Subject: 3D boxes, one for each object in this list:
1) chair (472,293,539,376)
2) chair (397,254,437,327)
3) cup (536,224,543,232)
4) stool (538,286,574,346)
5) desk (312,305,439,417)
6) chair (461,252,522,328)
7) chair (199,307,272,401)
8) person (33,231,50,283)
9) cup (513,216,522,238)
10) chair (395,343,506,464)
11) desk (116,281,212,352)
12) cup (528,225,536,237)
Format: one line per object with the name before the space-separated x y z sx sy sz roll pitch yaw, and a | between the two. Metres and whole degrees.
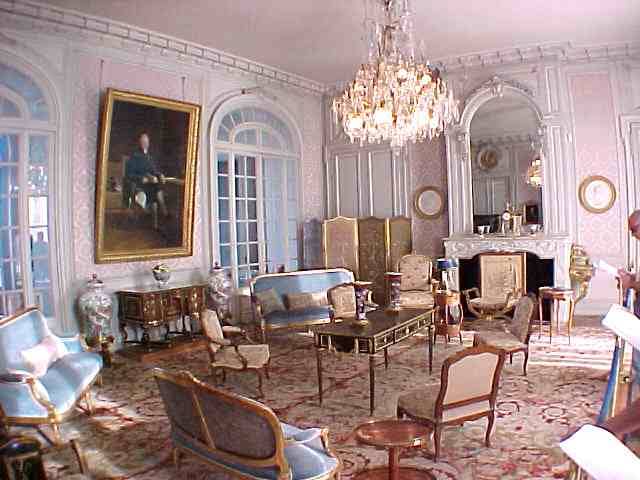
chair | 2.383 1.225 6.153 0.689 1.049 0.689 1 1 9
chair | 1.796 0.950 8.975 0.886 1.315 1.019 0 2 24
cup | 4.172 -0.218 9.002 0.112 0.096 0.128 2 4 21
stool | 3.788 1.205 7.671 0.570 0.797 0.577 1 -3 -32
desk | 0.767 1.458 6.106 0.816 0.888 1.841 -1 0 36
chair | 3.176 0.930 8.667 0.720 1.365 0.962 -3 0 -44
chair | -1.053 1.440 6.330 0.982 1.268 0.925 -1 2 7
person | -4.041 0.245 6.842 0.217 0.747 0.091 -5 6 -32
cup | 3.776 -0.273 9.085 0.171 0.403 0.125 0 6 19
chair | 1.208 1.410 4.518 0.764 1.040 0.765 -2 3 -22
desk | -2.512 1.229 7.837 0.625 0.839 1.650 -4 -3 20
cup | 4.046 -0.192 9.010 0.132 0.199 0.079 1 6 23
